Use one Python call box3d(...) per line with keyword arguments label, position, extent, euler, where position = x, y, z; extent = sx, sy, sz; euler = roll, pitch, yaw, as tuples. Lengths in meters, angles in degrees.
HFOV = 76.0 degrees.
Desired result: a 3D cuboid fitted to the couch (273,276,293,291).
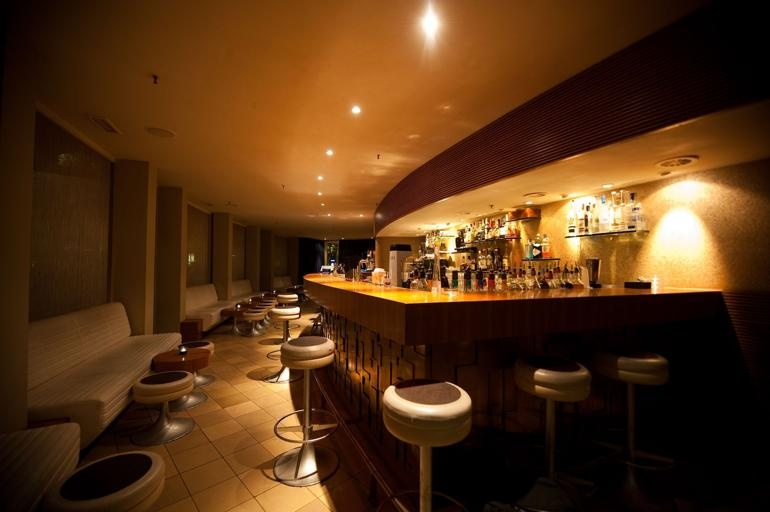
box3d(label="couch", position=(-3.497, 0.861, 16.739), extent=(0.594, 0.621, 2.483), euler=(2, -6, -13))
